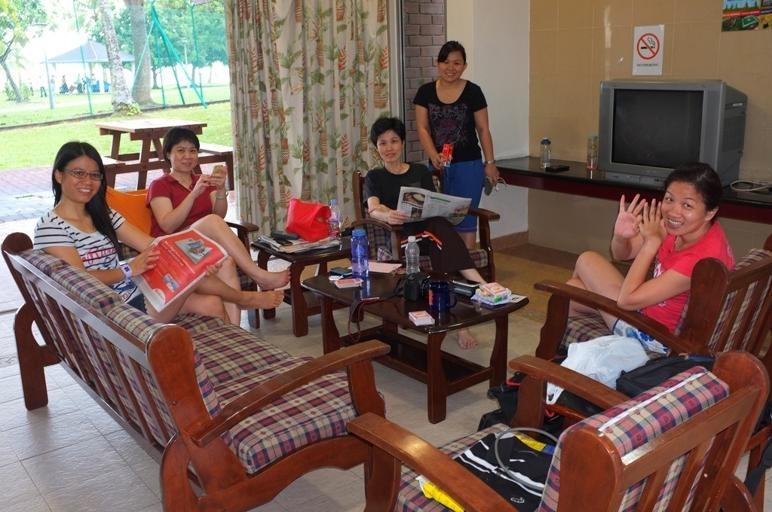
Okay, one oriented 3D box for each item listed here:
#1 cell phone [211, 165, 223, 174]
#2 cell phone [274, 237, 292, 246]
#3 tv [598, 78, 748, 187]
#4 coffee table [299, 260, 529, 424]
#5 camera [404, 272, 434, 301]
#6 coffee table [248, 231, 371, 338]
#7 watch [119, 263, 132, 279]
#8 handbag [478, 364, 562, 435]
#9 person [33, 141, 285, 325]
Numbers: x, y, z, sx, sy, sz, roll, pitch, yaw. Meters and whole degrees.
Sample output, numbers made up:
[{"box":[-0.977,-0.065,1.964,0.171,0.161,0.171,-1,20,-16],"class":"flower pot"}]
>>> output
[{"box":[-1.191,-0.616,3.728,0.079,0.079,0.047,2,17,-39],"class":"cell phone"},{"box":[-0.777,-0.113,3.986,0.086,0.025,0.083,-6,22,-17],"class":"cell phone"},{"box":[2.346,-0.997,4.214,0.577,0.824,1.013,-16,23,-36],"class":"tv"},{"box":[0.156,0.511,3.462,0.927,0.604,1.374,-9,14,-39],"class":"coffee table"},{"box":[0.208,0.185,3.238,0.156,0.118,0.167,10,16,27],"class":"camera"},{"box":[-0.572,0.080,4.238,0.807,0.676,0.804,-16,25,-35],"class":"coffee table"},{"box":[-1.463,0.086,2.964,0.042,0.070,0.066,-23,29,-25],"class":"watch"},{"box":[0.611,0.644,2.382,0.321,0.125,0.352,10,-1,-17],"class":"handbag"},{"box":[-1.136,-0.242,3.646,1.878,1.387,0.773,6,20,-17],"class":"person"}]
